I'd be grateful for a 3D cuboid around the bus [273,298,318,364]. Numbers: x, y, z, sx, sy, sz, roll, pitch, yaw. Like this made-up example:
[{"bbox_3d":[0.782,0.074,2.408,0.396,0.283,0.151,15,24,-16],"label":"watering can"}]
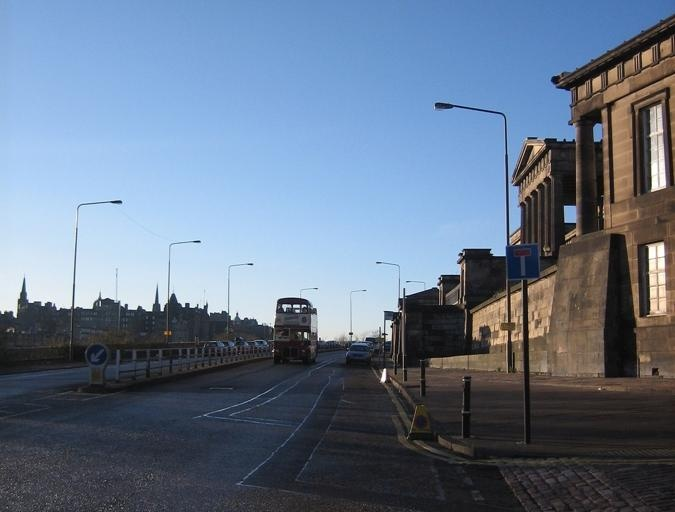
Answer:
[{"bbox_3d":[-3.090,5.150,51.679,2.780,6.246,3.856,0,-4,7],"label":"bus"}]
